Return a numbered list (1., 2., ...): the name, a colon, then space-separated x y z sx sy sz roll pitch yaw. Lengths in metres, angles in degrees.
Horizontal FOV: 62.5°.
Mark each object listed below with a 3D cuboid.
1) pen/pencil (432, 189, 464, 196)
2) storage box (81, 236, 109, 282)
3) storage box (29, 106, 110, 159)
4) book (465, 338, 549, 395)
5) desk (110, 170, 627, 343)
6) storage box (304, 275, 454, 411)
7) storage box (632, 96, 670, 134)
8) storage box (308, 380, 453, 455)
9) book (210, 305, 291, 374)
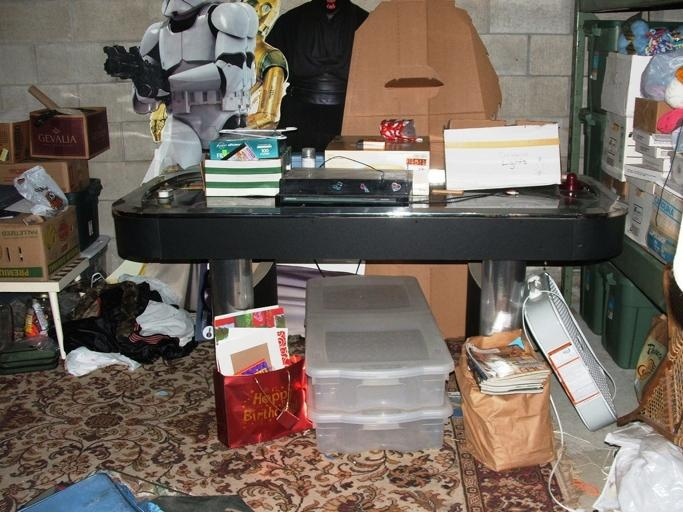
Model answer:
1. pen/pencil: 0.465 -0.276 2.440 0.107 0.024 0.025 4 0 6
2. storage box: -1.577 0.013 3.577 0.165 0.232 0.191 6 35 -9
3. storage box: -1.653 -0.734 3.436 0.363 0.230 0.353 1 14 1
4. book: 0.671 0.449 2.344 0.293 0.114 0.305 -5 17 -4
5. desk: 0.124 -0.070 2.577 2.176 0.588 0.664 -2 18 3
6. storage box: 0.131 0.394 2.720 0.601 0.259 0.976 -2 21 -3
7. storage box: 1.451 -0.678 2.688 0.147 0.174 0.270 -2 25 10
8. storage box: 0.167 0.667 2.356 0.444 0.157 0.366 -3 13 -3
9. book: -0.395 0.365 2.442 0.380 0.356 0.091 -3 3 -18
